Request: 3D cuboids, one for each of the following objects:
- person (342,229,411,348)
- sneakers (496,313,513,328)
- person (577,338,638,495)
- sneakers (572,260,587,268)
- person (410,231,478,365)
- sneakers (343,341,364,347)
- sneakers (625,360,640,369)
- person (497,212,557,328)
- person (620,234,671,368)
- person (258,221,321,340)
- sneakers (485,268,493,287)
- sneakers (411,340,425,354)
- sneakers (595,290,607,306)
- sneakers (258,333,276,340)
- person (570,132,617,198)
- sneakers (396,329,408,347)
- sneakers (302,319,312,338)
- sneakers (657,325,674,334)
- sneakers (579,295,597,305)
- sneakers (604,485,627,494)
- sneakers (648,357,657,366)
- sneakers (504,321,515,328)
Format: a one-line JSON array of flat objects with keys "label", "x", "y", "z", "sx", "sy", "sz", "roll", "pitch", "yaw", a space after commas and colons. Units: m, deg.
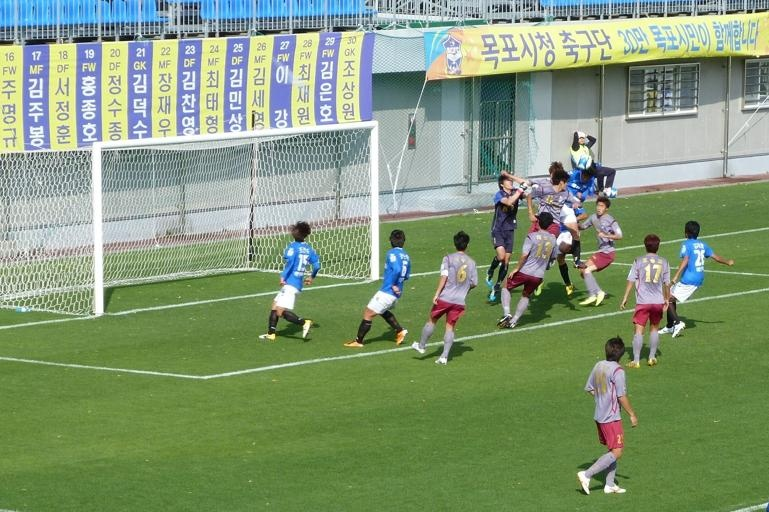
[{"label": "person", "x": -0.026, "y": 0.532, "z": 23.283, "sx": 0.943, "sy": 2.025, "sz": 1.354, "roll": -1, "pitch": 6, "yaw": -1}, {"label": "sneakers", "x": 2.176, "y": 1.138, "z": 23.896, "sx": 0.132, "sy": 0.356, "sz": 0.172, "roll": 45, "pitch": 26, "yaw": -2}, {"label": "person", "x": 3.182, "y": 2.225, "z": 19.365, "sx": 0.771, "sy": 2.154, "sz": 1.273, "roll": 1, "pitch": 6, "yaw": 10}, {"label": "sneakers", "x": 3.718, "y": 0.176, "z": 25.721, "sx": 0.292, "sy": 0.115, "sz": 0.099, "roll": 19, "pitch": 57, "yaw": 37}, {"label": "person", "x": 1.064, "y": 0.708, "z": 22.367, "sx": 0.882, "sy": 2.169, "sz": 0.528, "roll": 0, "pitch": 6, "yaw": 1}, {"label": "sneakers", "x": -0.511, "y": 1.506, "z": 23.315, "sx": 0.231, "sy": 0.070, "sz": 0.123, "roll": 3, "pitch": 0, "yaw": 3}, {"label": "sneakers", "x": 4.069, "y": 1.772, "z": 22.246, "sx": 0.188, "sy": 0.067, "sz": 0.112, "roll": 4, "pitch": 9, "yaw": 23}, {"label": "person", "x": 2.494, "y": 0.261, "z": 23.672, "sx": 0.942, "sy": 2.046, "sz": 0.616, "roll": 1, "pitch": 6, "yaw": 18}, {"label": "person", "x": 4.307, "y": 0.724, "z": 22.420, "sx": 0.773, "sy": 2.149, "sz": 1.073, "roll": 0, "pitch": 6, "yaw": 9}, {"label": "person", "x": -1.526, "y": 0.445, "z": 23.490, "sx": 1.061, "sy": 2.034, "sz": 0.712, "roll": 2, "pitch": 6, "yaw": 21}, {"label": "sneakers", "x": 1.969, "y": 0.462, "z": 25.793, "sx": 0.151, "sy": 0.283, "sz": 0.109, "roll": -5, "pitch": 20, "yaw": 15}, {"label": "sneakers", "x": 0.575, "y": 1.536, "z": 22.841, "sx": 0.117, "sy": 0.109, "sz": 0.277, "roll": -1, "pitch": 20, "yaw": -25}, {"label": "sneakers", "x": 3.989, "y": 0.801, "z": 25.034, "sx": 0.161, "sy": 0.327, "sz": 0.114, "roll": 15, "pitch": 30, "yaw": -5}, {"label": "sneakers", "x": -2.017, "y": 1.398, "z": 23.628, "sx": 0.300, "sy": 0.100, "sz": 0.104, "roll": 4, "pitch": 8, "yaw": 27}, {"label": "person", "x": 5.188, "y": -2.236, "z": 33.311, "sx": 1.083, "sy": 1.579, "sz": 0.974, "roll": -3, "pitch": 5, "yaw": 24}, {"label": "sneakers", "x": 0.315, "y": 1.412, "z": 23.388, "sx": 0.176, "sy": 0.316, "sz": 0.118, "roll": 1, "pitch": 52, "yaw": -14}, {"label": "sneakers", "x": -1.338, "y": 1.275, "z": 23.473, "sx": 0.171, "sy": 0.350, "sz": 0.118, "roll": 14, "pitch": 49, "yaw": -2}, {"label": "sneakers", "x": 4.858, "y": 1.278, "z": 23.633, "sx": 0.132, "sy": 0.134, "sz": 0.355, "roll": -5, "pitch": 5, "yaw": -45}, {"label": "sneakers", "x": 3.770, "y": 0.838, "z": 25.115, "sx": 0.356, "sy": 0.133, "sz": 0.125, "roll": -16, "pitch": 12, "yaw": 34}, {"label": "sneakers", "x": 3.224, "y": 3.283, "z": 19.123, "sx": 0.335, "sy": 0.120, "sz": 0.111, "roll": 0, "pitch": 8, "yaw": -7}, {"label": "sneakers", "x": 4.398, "y": 1.723, "z": 22.299, "sx": 0.136, "sy": 0.113, "sz": 0.123, "roll": 1, "pitch": 15, "yaw": 8}, {"label": "sneakers", "x": 2.207, "y": 1.207, "z": 23.855, "sx": 0.167, "sy": 0.110, "sz": 0.109, "roll": 9, "pitch": 23, "yaw": 3}]
